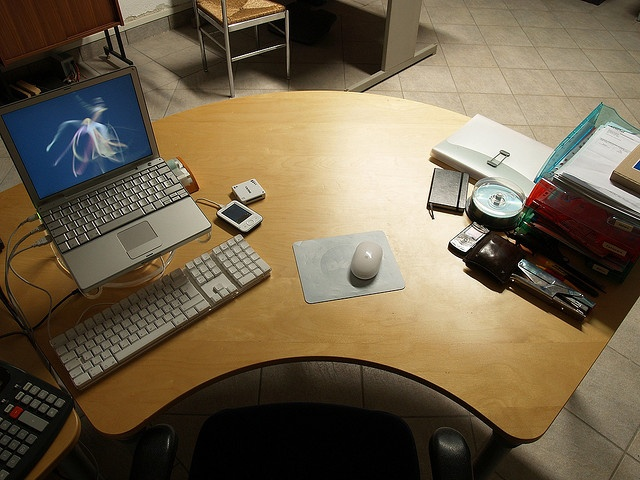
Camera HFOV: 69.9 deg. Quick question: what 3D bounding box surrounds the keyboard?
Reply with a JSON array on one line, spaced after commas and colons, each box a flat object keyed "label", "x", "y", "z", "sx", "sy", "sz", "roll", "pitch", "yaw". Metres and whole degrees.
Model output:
[{"label": "keyboard", "x": -0.449, "y": 0.193, "z": 1.350, "sx": 0.616, "sy": 0.103, "sz": 0.176, "roll": -27, "pitch": 56, "yaw": -25}]

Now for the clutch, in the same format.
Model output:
[{"label": "clutch", "x": 0.546, "y": 0.060, "z": 1.447, "sx": 0.150, "sy": 0.042, "sz": 0.158, "roll": 35, "pitch": 69, "yaw": 19}]

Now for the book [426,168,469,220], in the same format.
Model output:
[{"label": "book", "x": 0.447, "y": -0.171, "z": 1.603, "sx": 0.133, "sy": 0.047, "sz": 0.180, "roll": 14, "pitch": 53, "yaw": 19}]

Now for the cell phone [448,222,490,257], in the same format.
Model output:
[{"label": "cell phone", "x": 0.493, "y": -0.003, "z": 1.508, "sx": 0.137, "sy": 0.040, "sz": 0.073, "roll": -34, "pitch": 52, "yaw": -21}]

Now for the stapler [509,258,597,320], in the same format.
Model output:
[{"label": "stapler", "x": 0.707, "y": 0.156, "z": 1.414, "sx": 0.073, "sy": 0.078, "sz": 0.295, "roll": -36, "pitch": 37, "yaw": -4}]

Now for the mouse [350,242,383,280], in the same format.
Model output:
[{"label": "mouse", "x": 0.143, "y": 0.063, "z": 1.399, "sx": 0.078, "sy": 0.040, "sz": 0.124, "roll": 19, "pitch": 67, "yaw": 11}]
